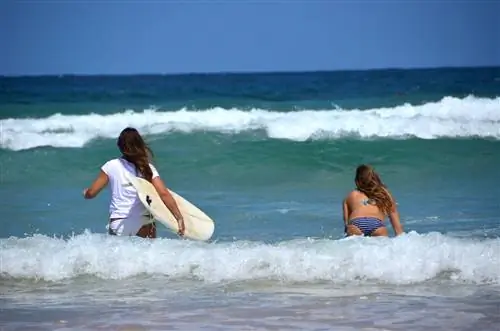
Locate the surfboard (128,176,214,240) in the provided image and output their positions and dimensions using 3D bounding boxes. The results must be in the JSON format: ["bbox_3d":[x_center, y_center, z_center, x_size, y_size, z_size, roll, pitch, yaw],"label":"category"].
[{"bbox_3d":[-1.709,0.991,13.238,0.433,0.944,1.812,-31,-50,29],"label":"surfboard"}]
